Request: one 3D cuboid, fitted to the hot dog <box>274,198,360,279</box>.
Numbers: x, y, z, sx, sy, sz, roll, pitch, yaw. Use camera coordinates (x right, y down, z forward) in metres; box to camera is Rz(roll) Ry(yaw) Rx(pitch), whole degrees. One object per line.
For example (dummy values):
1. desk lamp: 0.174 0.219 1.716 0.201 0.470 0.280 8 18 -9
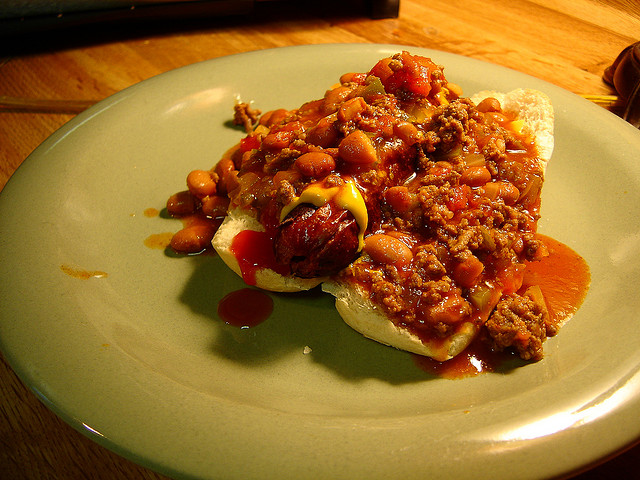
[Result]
1. hot dog: -0.026 -0.004 3.493 0.496 0.376 0.385 -2 69 -6
